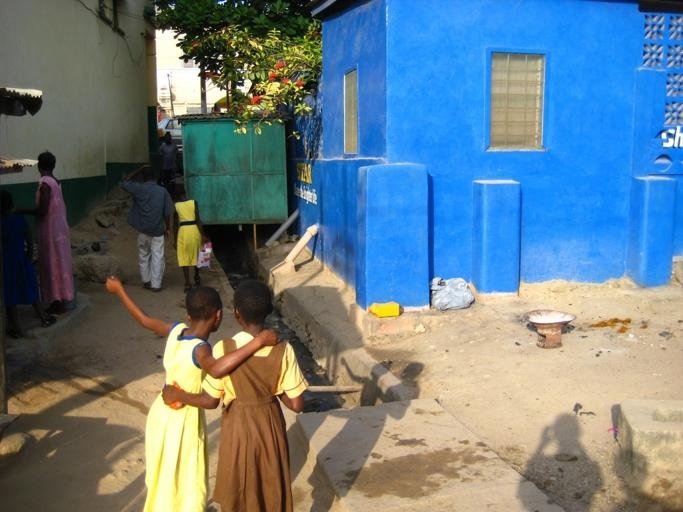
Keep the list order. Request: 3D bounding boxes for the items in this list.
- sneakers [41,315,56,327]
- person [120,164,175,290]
[{"bbox_3d":[-3.829,0.859,8.732,0.077,0.096,0.207,3,13,5],"label":"sneakers"},{"bbox_3d":[-3.271,-0.463,11.454,0.794,2.149,0.411,-3,11,-18],"label":"person"}]
